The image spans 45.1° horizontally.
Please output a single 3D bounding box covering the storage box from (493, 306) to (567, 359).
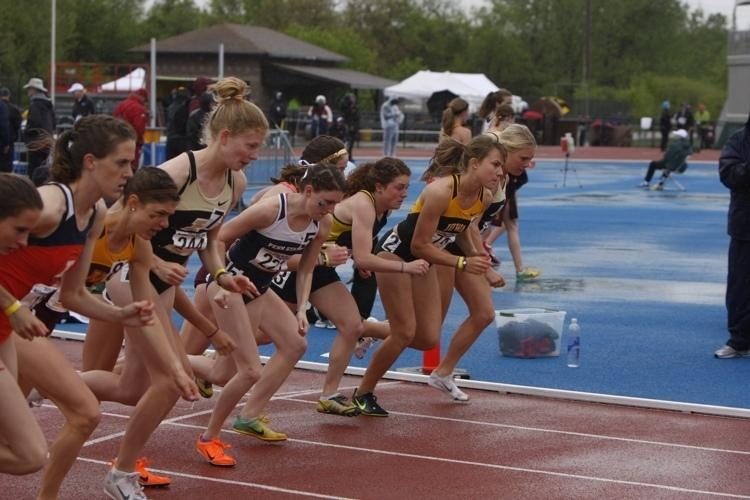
[{"bbox_3d":[1.588,0.820,9.077,0.653,0.391,0.494,-1,1,-26],"label":"storage box"}]

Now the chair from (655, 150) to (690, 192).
[{"bbox_3d":[7.739,-2.257,23.549,0.771,1.348,2.121,5,8,16],"label":"chair"}]

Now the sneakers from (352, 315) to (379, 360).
[{"bbox_3d":[-0.091,0.855,8.244,0.197,0.230,0.550,-6,-4,5],"label":"sneakers"}]

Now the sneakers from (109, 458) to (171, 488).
[{"bbox_3d":[-1.560,1.481,5.959,0.364,0.184,0.131,21,12,-7],"label":"sneakers"}]

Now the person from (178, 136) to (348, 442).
[{"bbox_3d":[-0.772,0.470,6.699,1.121,2.263,0.890,4,-3,-1],"label":"person"}]

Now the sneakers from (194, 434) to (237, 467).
[{"bbox_3d":[-1.133,1.430,6.472,0.345,0.147,0.153,19,18,24],"label":"sneakers"}]

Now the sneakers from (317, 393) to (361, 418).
[{"bbox_3d":[-0.309,1.272,7.350,0.423,0.180,0.150,0,-3,10],"label":"sneakers"}]

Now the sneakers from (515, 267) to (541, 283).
[{"bbox_3d":[2.120,0.325,12.350,0.413,0.160,0.139,-14,25,-22],"label":"sneakers"}]
